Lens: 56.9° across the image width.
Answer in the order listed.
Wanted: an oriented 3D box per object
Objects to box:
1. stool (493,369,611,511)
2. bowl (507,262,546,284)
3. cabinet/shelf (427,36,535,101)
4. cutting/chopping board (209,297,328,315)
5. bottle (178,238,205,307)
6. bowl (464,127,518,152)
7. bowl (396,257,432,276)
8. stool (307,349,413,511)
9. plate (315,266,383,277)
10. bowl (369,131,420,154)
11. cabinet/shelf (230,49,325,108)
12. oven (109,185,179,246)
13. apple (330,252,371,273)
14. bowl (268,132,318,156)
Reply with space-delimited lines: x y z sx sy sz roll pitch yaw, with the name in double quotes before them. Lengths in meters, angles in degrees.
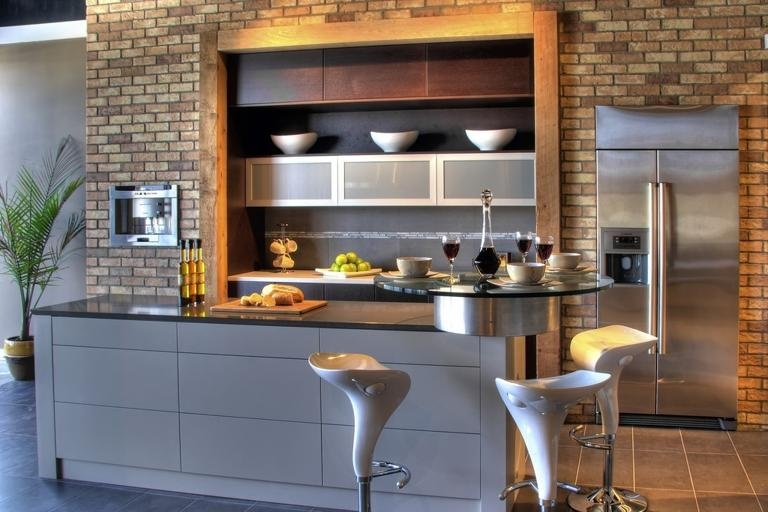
"stool" 1.009 1.112 4.172 0.568 0.819 0.437 -3 3 -41
"bowl" 0.841 0.107 4.293 0.167 0.074 0.159 -2 -3 0
"cabinet/shelf" 0.837 -1.635 6.208 1.023 0.410 0.498 1 4 11
"cutting/chopping board" -0.813 0.362 5.044 0.702 0.065 0.394 0 2 13
"bottle" -1.425 0.120 5.217 0.179 0.483 0.168 -1 2 0
"bowl" 0.959 -1.046 6.367 0.303 0.112 0.309 -1 4 0
"bowl" 0.197 0.077 4.679 0.206 0.123 0.213 -1 2 0
"stool" -0.139 1.153 4.441 0.605 1.094 0.574 -1 2 0
"plate" -0.327 0.159 6.640 0.628 0.073 0.442 -1 2 -4
"bowl" 0.102 -1.057 6.621 0.417 0.239 0.301 -1 2 3
"cabinet/shelf" -1.015 -1.631 6.480 1.001 0.410 0.475 0 2 12
"oven" -2.237 -0.382 6.662 0.693 0.513 0.209 0 1 12
"apple" -0.342 0.041 6.583 0.262 0.106 0.246 -3 3 -34
"bowl" -0.851 -1.061 6.731 0.311 0.112 0.301 0 4 0
